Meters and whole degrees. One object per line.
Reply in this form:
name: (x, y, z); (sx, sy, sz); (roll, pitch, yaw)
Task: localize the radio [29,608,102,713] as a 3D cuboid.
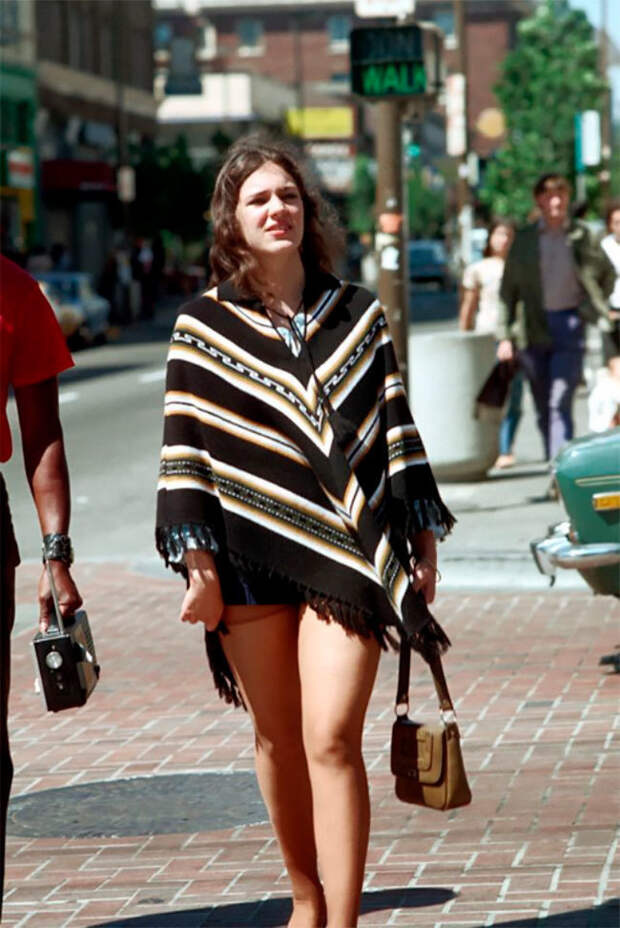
radio: (-0.439, 0.346, 2.061); (0.088, 0.143, 0.200); (-11, 5, -3)

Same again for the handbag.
handbag: (0.206, 0.440, 2.071); (0.135, 0.275, 0.296); (-5, 2, 5)

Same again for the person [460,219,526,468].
person: (1.888, -1.222, 11.555); (0.638, 2.443, 0.597); (2, 13, -1)

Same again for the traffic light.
traffic light: (0.619, -2.882, 8.208); (0.677, 0.368, 0.334); (-5, 2, 3)

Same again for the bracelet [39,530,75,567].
bracelet: (-0.443, 0.149, 2.016); (0.052, 0.057, 0.063); (0, -13, -15)
